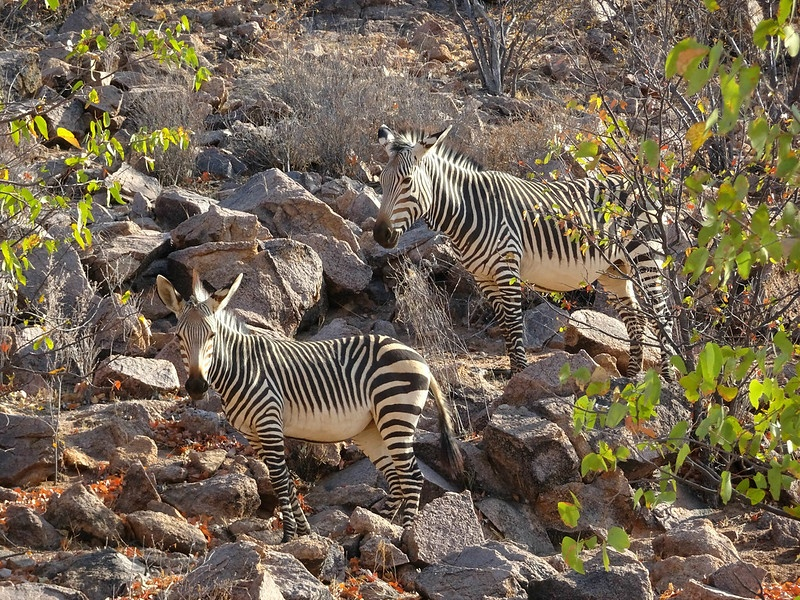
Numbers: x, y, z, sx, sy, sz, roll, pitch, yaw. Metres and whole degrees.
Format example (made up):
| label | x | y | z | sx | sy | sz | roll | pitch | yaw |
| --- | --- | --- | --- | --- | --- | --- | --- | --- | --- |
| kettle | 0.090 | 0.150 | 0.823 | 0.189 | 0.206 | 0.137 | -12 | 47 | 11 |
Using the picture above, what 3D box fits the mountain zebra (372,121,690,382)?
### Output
| label | x | y | z | sx | sy | sz | roll | pitch | yaw |
| --- | --- | --- | --- | --- | --- | --- | --- | --- | --- |
| mountain zebra | 1.291 | -0.403 | 12.216 | 3.002 | 2.464 | 1.057 | 2 | 2 | -12 |
